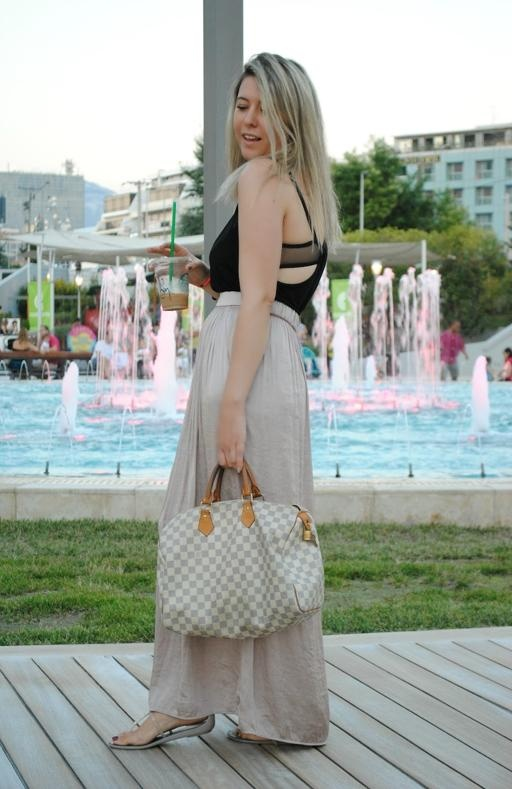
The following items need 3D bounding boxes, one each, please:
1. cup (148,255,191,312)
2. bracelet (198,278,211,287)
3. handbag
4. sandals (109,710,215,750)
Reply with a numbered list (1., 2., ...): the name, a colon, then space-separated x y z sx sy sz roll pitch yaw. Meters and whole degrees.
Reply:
1. cup: -0.205 -0.266 2.853 0.101 0.136 0.099 -4 -12 -1
2. bracelet: -0.127 -0.269 2.790 0.026 0.009 0.019 -49 -13 27
3. handbag: -0.051 0.343 2.473 0.334 0.435 0.178 -3 -21 6
4. sandals: -0.209 0.745 2.561 0.216 0.074 0.089 -14 8 -7
